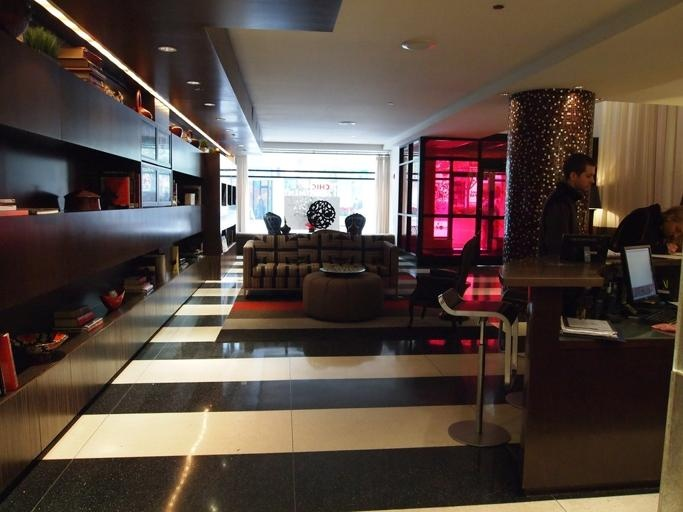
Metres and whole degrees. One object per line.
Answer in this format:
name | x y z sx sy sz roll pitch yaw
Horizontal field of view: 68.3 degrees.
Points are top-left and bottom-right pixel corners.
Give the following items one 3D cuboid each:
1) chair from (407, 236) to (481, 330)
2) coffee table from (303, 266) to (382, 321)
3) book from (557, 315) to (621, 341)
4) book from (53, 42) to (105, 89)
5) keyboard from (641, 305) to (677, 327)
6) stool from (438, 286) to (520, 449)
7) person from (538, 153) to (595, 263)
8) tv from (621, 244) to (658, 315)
chair | 1.240 0.270 6.227 0.744 1.108 0.693 8 9 26
coffee table | 0.037 0.539 6.700 1.050 0.532 1.070 2 1 9
book | 1.603 0.457 3.265 0.343 0.048 0.333 6 13 22
book | -2.242 -1.628 4.310 0.329 0.215 0.437 0 7 -7
keyboard | 2.252 0.398 3.563 0.210 0.043 0.534 9 15 31
stool | 1.077 0.729 3.890 0.556 1.059 1.095 6 13 20
person | 2.101 -0.471 4.705 0.408 0.953 0.480 6 13 22
tv | 2.151 0.133 3.641 0.481 0.409 0.045 -4 -6 -38
